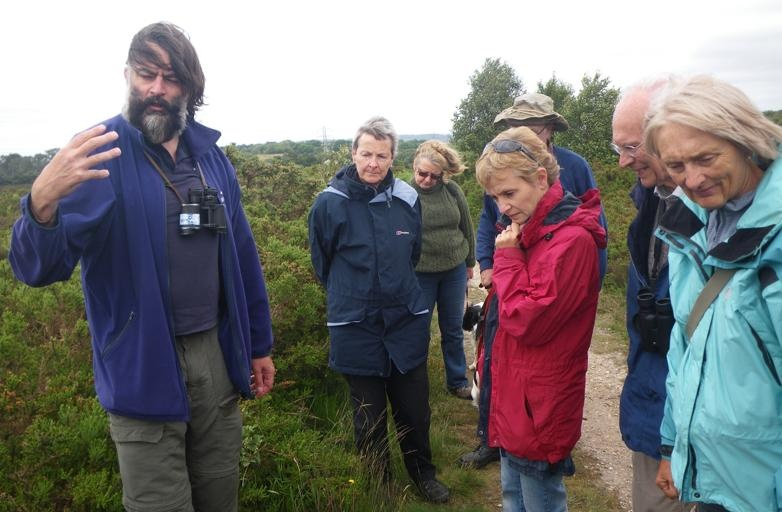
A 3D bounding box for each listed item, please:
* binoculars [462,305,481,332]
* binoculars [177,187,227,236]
[{"bbox_3d":[0.922,0.741,6.533,0.190,0.311,0.293,0,9,-23],"label":"binoculars"},{"bbox_3d":[-1.275,-0.292,3.792,0.185,0.321,0.337,0,1,39],"label":"binoculars"}]
